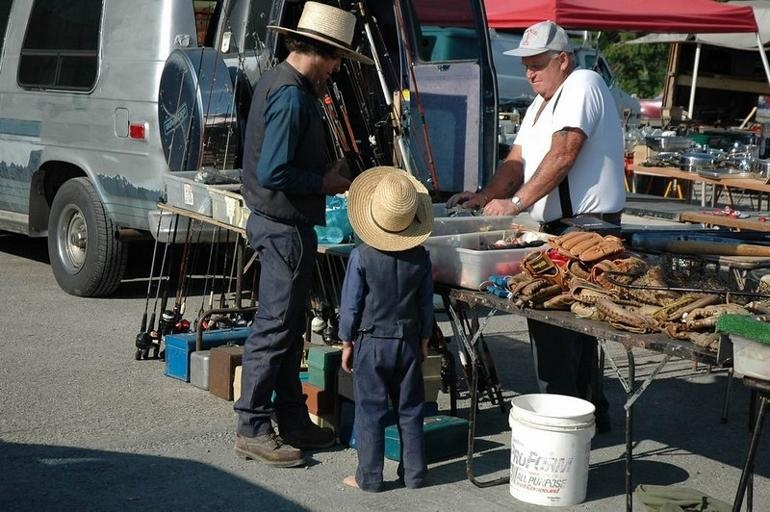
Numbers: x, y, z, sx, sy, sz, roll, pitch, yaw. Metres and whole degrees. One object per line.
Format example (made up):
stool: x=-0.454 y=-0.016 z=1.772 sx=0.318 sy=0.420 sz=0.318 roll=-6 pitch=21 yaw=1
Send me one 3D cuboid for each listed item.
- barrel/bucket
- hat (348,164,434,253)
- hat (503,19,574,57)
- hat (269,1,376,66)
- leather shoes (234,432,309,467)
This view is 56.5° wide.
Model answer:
barrel/bucket: x=0.900 y=1.080 z=4.239 sx=0.571 sy=0.584 sz=0.560 roll=0 pitch=8 yaw=0
hat: x=0.047 y=-0.319 z=4.248 sx=0.520 sy=0.545 sz=0.197 roll=17 pitch=-32 yaw=-2
hat: x=1.032 y=-1.459 z=4.864 sx=0.495 sy=0.250 sz=0.371 roll=-12 pitch=15 yaw=-24
hat: x=-0.331 y=-1.350 z=4.342 sx=0.435 sy=0.176 sz=0.414 roll=16 pitch=1 yaw=-23
leather shoes: x=-0.724 y=1.176 z=4.541 sx=0.407 sy=0.194 sz=0.188 roll=5 pitch=5 yaw=14
